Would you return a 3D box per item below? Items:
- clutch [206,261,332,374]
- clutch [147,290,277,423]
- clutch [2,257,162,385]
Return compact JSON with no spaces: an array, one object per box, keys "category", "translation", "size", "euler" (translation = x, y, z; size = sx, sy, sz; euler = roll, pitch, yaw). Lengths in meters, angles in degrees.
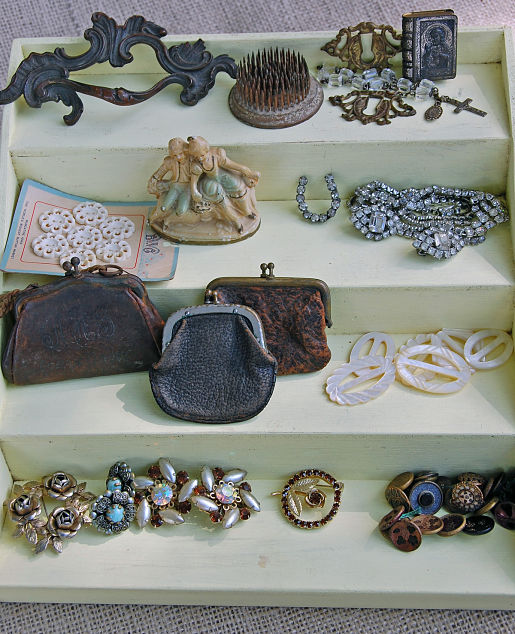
[{"category":"clutch","translation":[0.022,0.010,1.404],"size":[0.298,0.215,0.074],"euler":[2,28,11]},{"category":"clutch","translation":[-0.092,0.094,1.356],"size":[0.246,0.185,0.171],"euler":[-5,43,0]},{"category":"clutch","translation":[-0.361,0.020,1.408],"size":[0.341,0.180,0.103],"euler":[-2,27,-5]}]
